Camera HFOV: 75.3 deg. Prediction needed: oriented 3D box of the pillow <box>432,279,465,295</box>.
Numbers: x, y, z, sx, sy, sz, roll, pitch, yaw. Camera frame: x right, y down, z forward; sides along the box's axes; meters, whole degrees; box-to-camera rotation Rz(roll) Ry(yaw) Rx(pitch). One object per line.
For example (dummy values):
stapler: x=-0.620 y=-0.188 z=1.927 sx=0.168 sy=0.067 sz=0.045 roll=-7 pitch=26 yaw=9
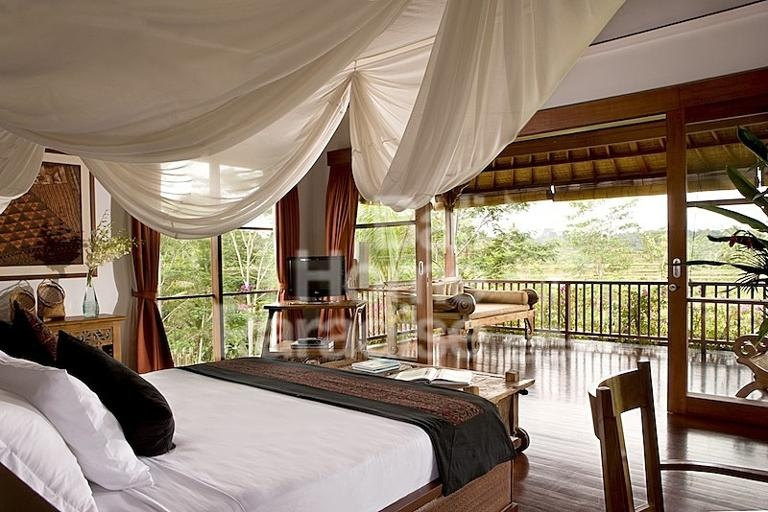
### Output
pillow: x=0.995 y=0.445 z=7.668 sx=0.305 sy=0.130 sz=0.387 roll=-2 pitch=-2 yaw=37

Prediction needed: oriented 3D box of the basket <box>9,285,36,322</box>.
basket: x=-3.389 y=0.434 z=4.619 sx=0.277 sy=0.277 sz=0.168 roll=11 pitch=-27 yaw=-40

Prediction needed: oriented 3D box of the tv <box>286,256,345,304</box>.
tv: x=-0.781 y=0.280 z=5.848 sx=0.762 sy=0.547 sz=0.216 roll=-2 pitch=0 yaw=13
